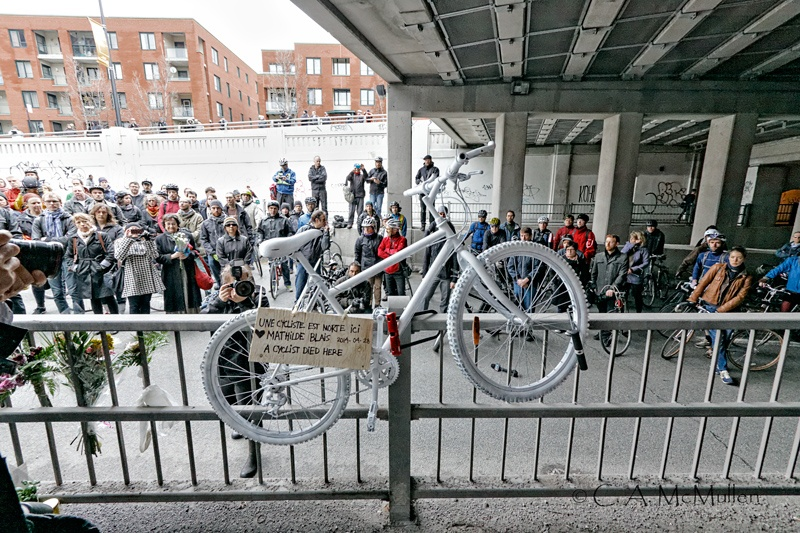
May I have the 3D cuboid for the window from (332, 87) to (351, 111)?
[{"bbox_3d":[-4.360,-12.687,53.714,1.919,2.075,0.215,3,35,1],"label":"window"}]

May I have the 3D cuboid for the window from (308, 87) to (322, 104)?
[{"bbox_3d":[-6.362,-12.882,53.446,1.296,1.263,0.098,3,31,2],"label":"window"}]

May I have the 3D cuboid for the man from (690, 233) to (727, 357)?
[{"bbox_3d":[8.998,0.743,20.654,1.201,3.357,1.257,2,-1,-43],"label":"man"}]

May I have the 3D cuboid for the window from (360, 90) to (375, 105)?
[{"bbox_3d":[-2.406,-12.805,53.711,1.371,1.392,0.114,-1,17,-8],"label":"window"}]

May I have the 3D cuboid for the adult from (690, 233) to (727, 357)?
[{"bbox_3d":[9.045,0.754,20.736,1.179,3.413,1.246,-2,3,-30],"label":"adult"}]

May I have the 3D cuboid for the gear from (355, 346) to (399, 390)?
[{"bbox_3d":[-0.507,2.256,15.907,1.061,0.962,0.255,1,3,0],"label":"gear"}]

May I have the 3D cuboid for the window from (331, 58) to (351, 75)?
[{"bbox_3d":[-4.445,-14.925,53.470,1.405,1.181,0.304,-3,11,-8],"label":"window"}]

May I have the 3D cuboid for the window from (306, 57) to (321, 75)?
[{"bbox_3d":[-6.395,-14.961,52.814,1.362,1.249,0.095,3,9,16],"label":"window"}]
